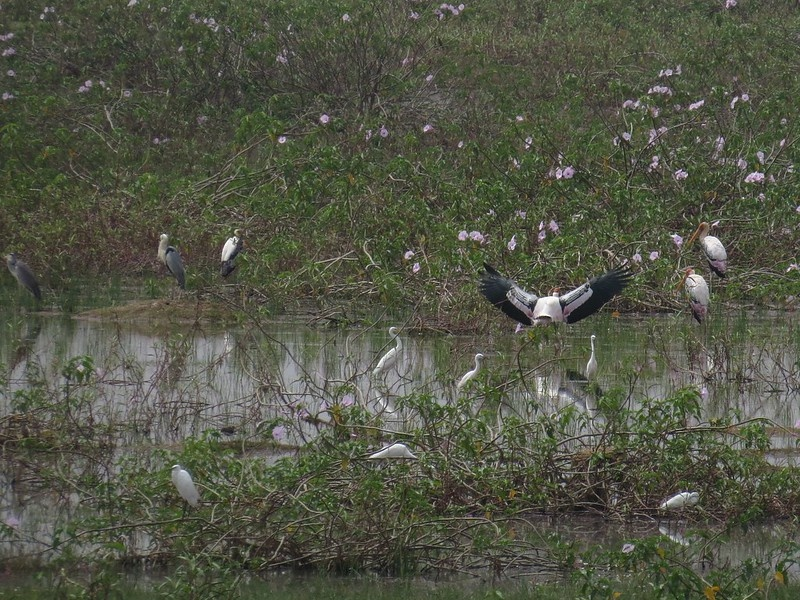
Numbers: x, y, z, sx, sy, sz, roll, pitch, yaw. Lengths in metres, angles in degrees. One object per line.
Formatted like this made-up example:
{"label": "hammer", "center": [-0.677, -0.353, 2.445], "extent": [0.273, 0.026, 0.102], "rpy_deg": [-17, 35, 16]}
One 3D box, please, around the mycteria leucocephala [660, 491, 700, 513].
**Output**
{"label": "mycteria leucocephala", "center": [2.935, 2.158, 14.877], "extent": [0.389, 0.164, 0.196], "rpy_deg": [-13, 38, 17]}

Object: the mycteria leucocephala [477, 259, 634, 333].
{"label": "mycteria leucocephala", "center": [1.948, -0.077, 18.009], "extent": [1.904, 0.782, 0.746], "rpy_deg": [0, 2, 3]}

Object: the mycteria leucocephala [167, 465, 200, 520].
{"label": "mycteria leucocephala", "center": [-2.231, 1.960, 14.503], "extent": [0.276, 0.566, 0.373], "rpy_deg": [-1, 2, -11]}

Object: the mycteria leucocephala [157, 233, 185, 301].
{"label": "mycteria leucocephala", "center": [-3.553, -0.592, 21.910], "extent": [0.397, 0.885, 0.956], "rpy_deg": [0, 2, -9]}

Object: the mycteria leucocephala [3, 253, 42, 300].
{"label": "mycteria leucocephala", "center": [-6.110, -0.384, 22.849], "extent": [0.515, 0.804, 1.157], "rpy_deg": [-1, 2, -15]}
